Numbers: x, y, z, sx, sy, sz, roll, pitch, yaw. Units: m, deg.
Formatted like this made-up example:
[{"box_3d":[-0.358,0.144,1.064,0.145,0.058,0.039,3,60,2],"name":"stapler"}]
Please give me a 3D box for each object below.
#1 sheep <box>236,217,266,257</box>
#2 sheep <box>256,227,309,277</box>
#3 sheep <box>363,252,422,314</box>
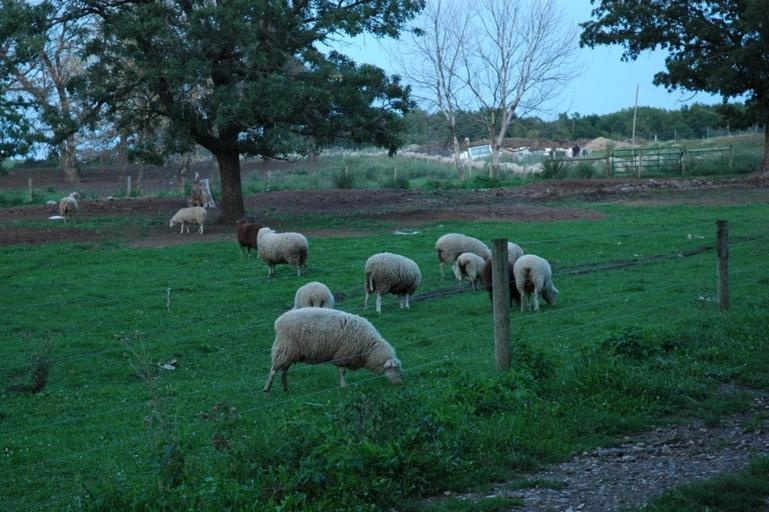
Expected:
[{"box_3d":[-4.368,-0.595,22.531,0.638,1.177,1.568,-1,3,-38],"name":"sheep"},{"box_3d":[-3.011,-0.115,20.141,1.949,1.362,0.953,2,5,36],"name":"sheep"},{"box_3d":[0.303,0.670,17.371,0.902,1.312,1.878,6,3,44],"name":"sheep"}]
